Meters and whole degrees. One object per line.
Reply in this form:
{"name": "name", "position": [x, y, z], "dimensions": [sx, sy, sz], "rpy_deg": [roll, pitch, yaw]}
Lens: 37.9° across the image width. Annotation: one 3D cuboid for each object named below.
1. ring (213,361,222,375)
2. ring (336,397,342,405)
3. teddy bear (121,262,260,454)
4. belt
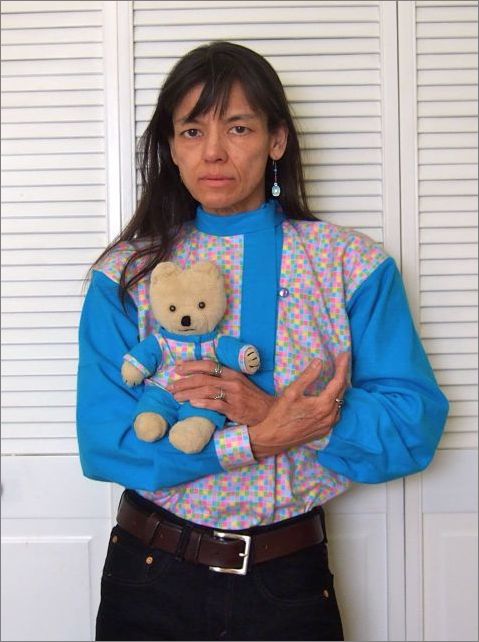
{"name": "ring", "position": [-0.041, 0.087, 1.263], "dimensions": [0.017, 0.018, 0.008], "rpy_deg": [-2, -10, 11]}
{"name": "ring", "position": [0.189, 0.151, 1.314], "dimensions": [0.010, 0.012, 0.005], "rpy_deg": [1, -17, -8]}
{"name": "teddy bear", "position": [-0.094, 0.058, 1.238], "dimensions": [0.300, 0.291, 0.273], "rpy_deg": [5, 24, 18]}
{"name": "belt", "position": [-0.050, 0.404, 1.332], "dimensions": [0.398, 0.106, 0.138], "rpy_deg": [-1, 11, 10]}
